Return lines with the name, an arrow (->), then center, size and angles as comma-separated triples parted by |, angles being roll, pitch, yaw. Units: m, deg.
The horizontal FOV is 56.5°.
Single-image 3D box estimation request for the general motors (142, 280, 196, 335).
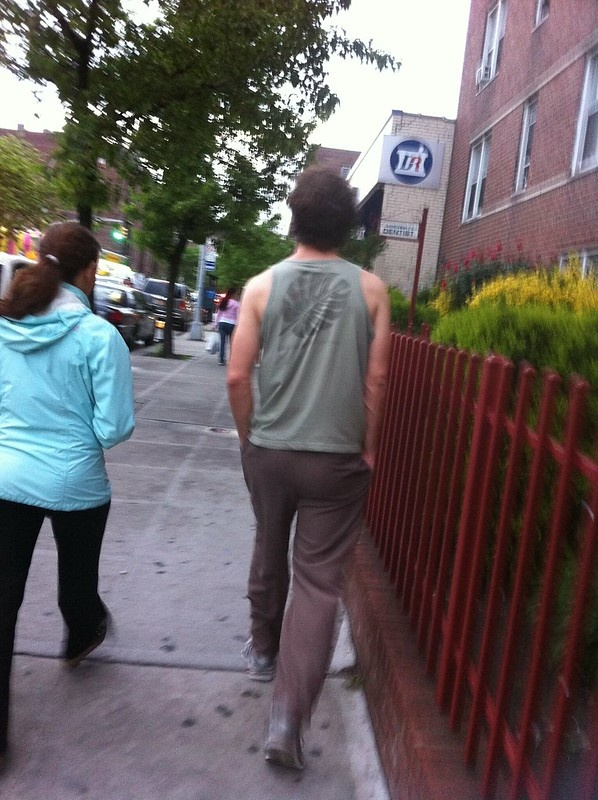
general motors -> -8.099, -5.234, 33.082 | 2.786, 3.084, 6.966 | 5, 17, -1
